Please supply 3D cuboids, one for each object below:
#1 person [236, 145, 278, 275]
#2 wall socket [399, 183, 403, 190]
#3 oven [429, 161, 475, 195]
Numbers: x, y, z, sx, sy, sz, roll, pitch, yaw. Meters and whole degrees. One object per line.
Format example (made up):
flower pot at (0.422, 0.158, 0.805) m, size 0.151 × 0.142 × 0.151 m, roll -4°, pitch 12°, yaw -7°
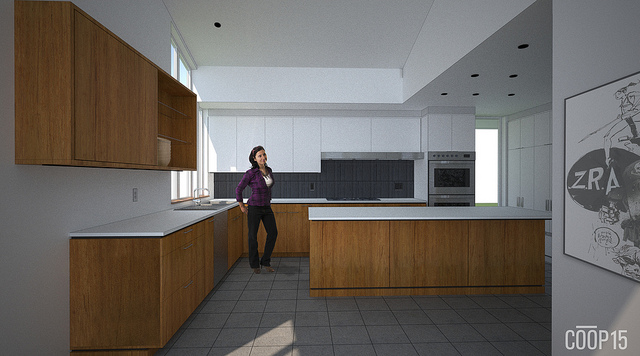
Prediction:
person at (-1.023, 0.511, 6.213) m, size 0.621 × 1.375 × 0.501 m, roll -2°, pitch 1°, yaw -11°
wall socket at (1.655, 0.168, 7.783) m, size 0.111 × 0.098 × 0.024 m, roll 1°, pitch 1°, yaw -8°
oven at (2.480, 0.013, 7.486) m, size 1.192 × 0.742 × 0.596 m, roll 0°, pitch -5°, yaw -2°
